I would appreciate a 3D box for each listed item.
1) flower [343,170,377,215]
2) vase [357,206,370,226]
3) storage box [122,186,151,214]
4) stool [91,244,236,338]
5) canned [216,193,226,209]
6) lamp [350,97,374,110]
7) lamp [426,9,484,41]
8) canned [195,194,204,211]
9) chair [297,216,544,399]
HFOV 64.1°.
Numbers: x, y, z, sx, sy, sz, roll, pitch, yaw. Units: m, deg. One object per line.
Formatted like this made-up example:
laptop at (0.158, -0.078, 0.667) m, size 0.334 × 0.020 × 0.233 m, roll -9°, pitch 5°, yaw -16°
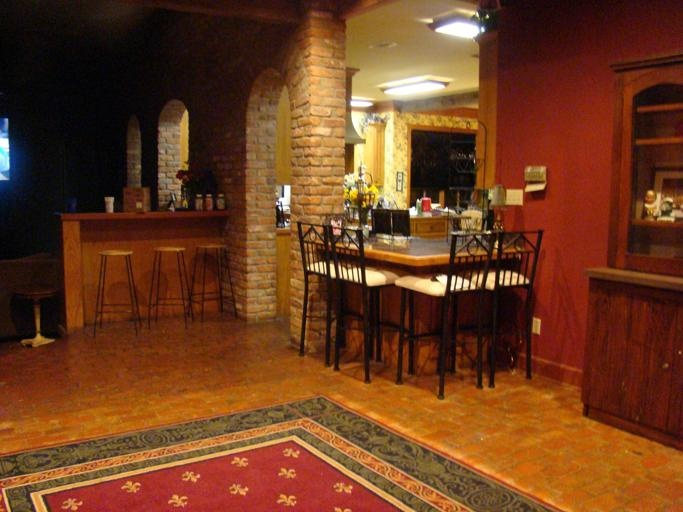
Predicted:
flower at (0.222, -0.720, 5.930) m, size 0.354 × 0.471 × 0.694 m, roll 1°, pitch 10°, yaw 2°
vase at (0.241, -0.428, 5.932) m, size 0.153 × 0.287 × 0.171 m, roll -1°, pitch 3°, yaw 1°
storage box at (-2.524, -0.691, 6.695) m, size 0.317 × 0.289 × 0.289 m, roll -2°, pitch 10°, yaw -15°
stool at (-2.185, 0.361, 6.901) m, size 1.639 × 1.006 × 0.433 m, roll -4°, pitch 6°, yaw -30°
canned at (-1.569, -0.713, 7.147) m, size 0.123 × 0.203 × 0.103 m, roll -2°, pitch 9°, yaw -14°
lamp at (0.487, -3.409, 12.237) m, size 0.496 × 0.179 × 0.587 m, roll 1°, pitch 10°, yaw 5°
lamp at (1.394, -2.788, 6.596) m, size 0.680 × 0.174 × 0.690 m, roll 4°, pitch 8°, yaw 45°
canned at (-1.841, -0.702, 7.117) m, size 0.106 × 0.200 × 0.124 m, roll -2°, pitch 10°, yaw -16°
chair at (0.621, 0.257, 5.160) m, size 1.359 × 1.311 × 1.865 m, roll -3°, pitch 7°, yaw -31°
